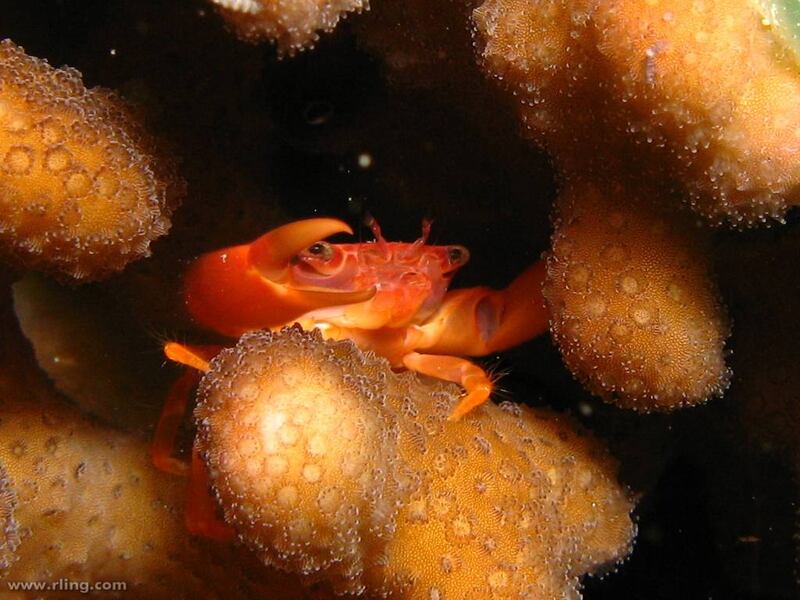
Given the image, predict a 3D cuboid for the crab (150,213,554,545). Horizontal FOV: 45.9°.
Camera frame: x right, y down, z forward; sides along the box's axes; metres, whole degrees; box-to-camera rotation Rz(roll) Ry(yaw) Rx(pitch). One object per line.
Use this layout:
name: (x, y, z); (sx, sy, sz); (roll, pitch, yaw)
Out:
crab: (-0.063, -0.032, 2.925); (1.091, 0.567, 0.558); (16, 79, 0)
